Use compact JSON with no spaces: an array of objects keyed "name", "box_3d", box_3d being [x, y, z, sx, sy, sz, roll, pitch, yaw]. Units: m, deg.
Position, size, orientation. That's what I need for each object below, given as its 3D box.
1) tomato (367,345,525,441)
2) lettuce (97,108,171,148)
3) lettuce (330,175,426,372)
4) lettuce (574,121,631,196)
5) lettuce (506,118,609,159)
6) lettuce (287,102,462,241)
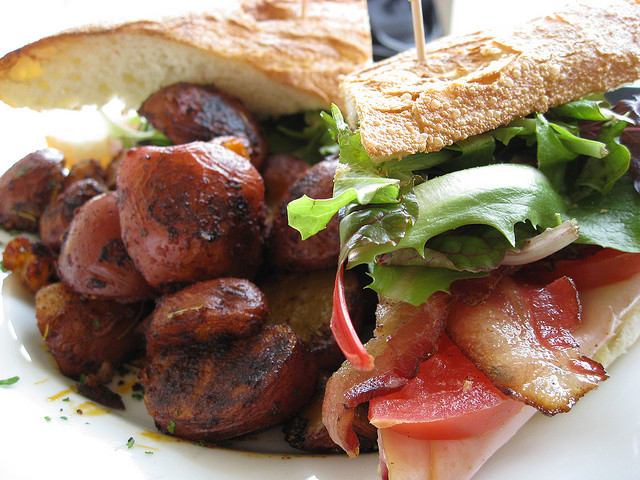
[{"name":"tomato","box_3d":[0.345,0.472,1.847,0.399,0.229,0.226,-30,45,-21]},{"name":"lettuce","box_3d":[-0.723,-0.406,2.482,0.208,0.068,0.196,6,10,4]},{"name":"lettuce","box_3d":[0.125,0.079,1.766,0.219,0.134,0.526,17,82,1]},{"name":"lettuce","box_3d":[0.891,-0.254,2.005,0.062,0.221,0.146,-5,36,-25]},{"name":"lettuce","box_3d":[0.745,-0.316,2.013,0.260,0.040,0.062,18,44,0]},{"name":"lettuce","box_3d":[0.090,-0.215,1.849,0.458,0.193,0.391,-40,12,10]}]
